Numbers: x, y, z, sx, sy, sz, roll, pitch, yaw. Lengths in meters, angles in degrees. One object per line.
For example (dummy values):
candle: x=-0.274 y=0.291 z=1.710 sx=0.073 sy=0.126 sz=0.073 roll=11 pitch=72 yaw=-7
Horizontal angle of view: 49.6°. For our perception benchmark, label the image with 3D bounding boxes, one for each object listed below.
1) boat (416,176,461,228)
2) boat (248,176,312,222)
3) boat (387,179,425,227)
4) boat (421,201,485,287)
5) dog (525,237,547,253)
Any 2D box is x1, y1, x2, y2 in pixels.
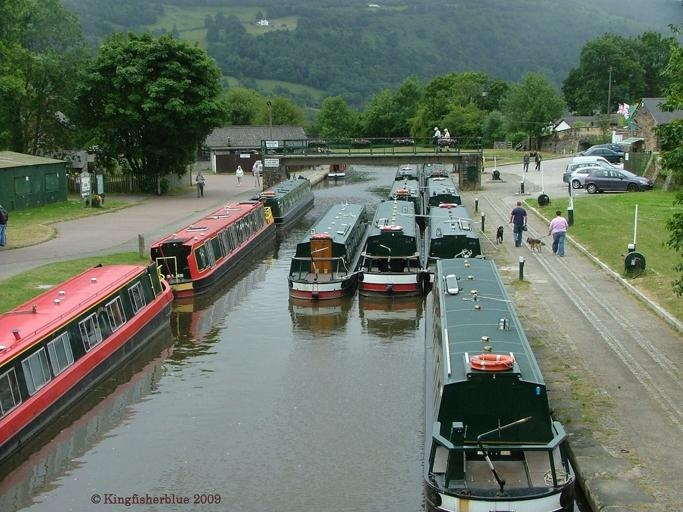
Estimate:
boat: x=6.922 y=-4.107 z=51.388 sx=1.950 sy=2.188 sz=7.067 roll=-2 pitch=13 yaw=5
boat: x=-4.404 y=-4.351 z=57.799 sx=1.957 sy=1.882 sz=8.536 roll=2 pitch=16 yaw=10
boat: x=4.648 y=-4.187 z=53.008 sx=1.671 sy=1.919 sz=5.552 roll=-2 pitch=14 yaw=6
boat: x=5.667 y=-1.218 z=39.143 sx=1.920 sy=1.859 sz=6.438 roll=-1 pitch=15 yaw=4
dog: x=10.885 y=-0.639 z=41.273 sx=0.880 sy=0.728 sz=1.519 roll=2 pitch=12 yaw=14
